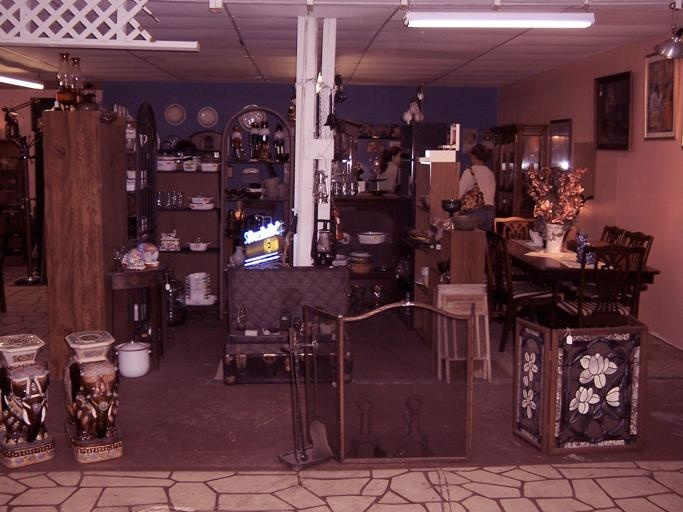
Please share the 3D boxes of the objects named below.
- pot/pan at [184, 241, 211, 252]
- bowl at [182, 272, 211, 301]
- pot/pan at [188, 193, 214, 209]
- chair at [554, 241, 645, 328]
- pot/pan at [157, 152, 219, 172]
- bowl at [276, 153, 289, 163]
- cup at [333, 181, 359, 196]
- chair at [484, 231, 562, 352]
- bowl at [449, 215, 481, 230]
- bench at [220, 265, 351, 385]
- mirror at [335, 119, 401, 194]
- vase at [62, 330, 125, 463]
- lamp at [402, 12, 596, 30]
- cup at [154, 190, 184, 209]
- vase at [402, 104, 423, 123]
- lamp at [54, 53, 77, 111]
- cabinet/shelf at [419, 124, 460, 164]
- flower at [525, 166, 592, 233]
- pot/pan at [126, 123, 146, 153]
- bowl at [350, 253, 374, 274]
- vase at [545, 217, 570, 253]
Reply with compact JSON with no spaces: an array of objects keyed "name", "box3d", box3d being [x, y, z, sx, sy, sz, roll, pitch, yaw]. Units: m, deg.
[{"name":"pot/pan","box3d":[-1.826,-0.124,8.215,0.273,0.120,0.377,-3,13,-12]},{"name":"bowl","box3d":[-1.833,0.382,8.167,0.329,0.332,0.327,2,11,0]},{"name":"pot/pan","box3d":[-1.760,-0.655,8.141,0.268,0.110,0.200,0,9,-1]},{"name":"chair","box3d":[2.558,0.409,6.422,0.677,1.145,0.791,-2,9,-6]},{"name":"pot/pan","box3d":[-1.981,-1.211,8.365,0.778,0.203,0.521,-2,13,-11]},{"name":"bowl","box3d":[-0.750,-1.252,8.220,0.140,0.094,0.137,0,9,0]},{"name":"cup","box3d":[0.068,-0.939,9.035,0.401,0.214,0.269,-1,2,-11]},{"name":"chair","box3d":[2.020,0.352,7.076,0.748,1.193,0.767,1,7,6]},{"name":"bowl","box3d":[1.258,-0.323,6.488,0.269,0.143,0.202,2,13,8]},{"name":"bench","box3d":[-0.507,0.628,5.890,1.284,1.000,0.739,-1,14,-10]},{"name":"mirror","box3d":[0.449,-1.668,10.805,0.869,1.450,1.572,0,9,-1]},{"name":"vase","box3d":[-1.834,1.074,4.714,0.398,0.873,0.822,-1,6,-20]},{"name":"lamp","box3d":[1.412,-2.126,5.711,1.688,0.143,0.279,-1,13,-4]},{"name":"cup","box3d":[-2.182,-0.710,8.198,0.310,0.195,0.337,0,13,0]},{"name":"vase","box3d":[0.931,-1.838,8.262,0.163,0.271,0.500,-2,13,-8]},{"name":"lamp","box3d":[-2.540,-1.618,5.913,0.169,0.517,0.511,-5,14,-22]},{"name":"cabinet/shelf","box3d":[1.134,-1.262,7.273,0.438,0.452,0.494,1,13,4]},{"name":"flower","box3d":[2.310,-0.721,7.212,0.739,0.805,0.558,-2,30,-7]},{"name":"pot/pan","box3d":[-2.227,-1.260,6.885,0.283,0.260,0.068,30,9,17]},{"name":"bowl","box3d":[0.270,0.113,8.361,0.287,0.116,0.222,4,8,-10]},{"name":"vase","box3d":[2.385,-0.225,7.140,0.347,0.354,0.317,5,11,10]}]
